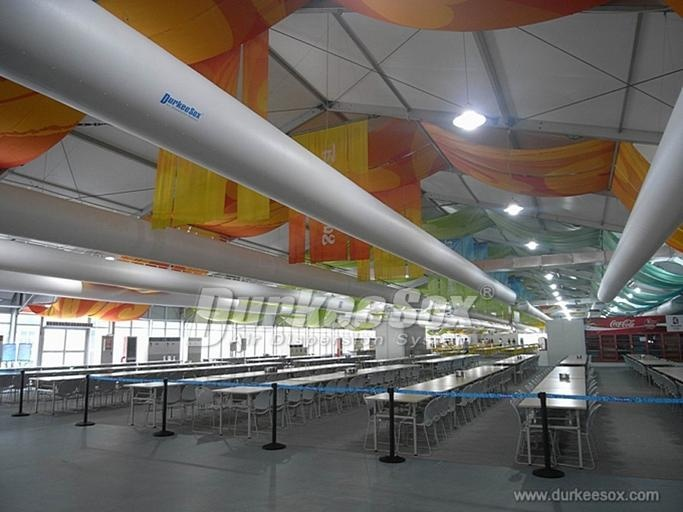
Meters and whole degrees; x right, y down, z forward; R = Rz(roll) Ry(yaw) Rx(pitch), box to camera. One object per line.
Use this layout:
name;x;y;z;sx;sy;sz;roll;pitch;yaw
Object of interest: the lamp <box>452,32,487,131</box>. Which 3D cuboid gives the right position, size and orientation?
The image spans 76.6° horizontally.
lamp;1.996;-2.394;6.748;0.417;1.306;1.687;-5;-13;21
